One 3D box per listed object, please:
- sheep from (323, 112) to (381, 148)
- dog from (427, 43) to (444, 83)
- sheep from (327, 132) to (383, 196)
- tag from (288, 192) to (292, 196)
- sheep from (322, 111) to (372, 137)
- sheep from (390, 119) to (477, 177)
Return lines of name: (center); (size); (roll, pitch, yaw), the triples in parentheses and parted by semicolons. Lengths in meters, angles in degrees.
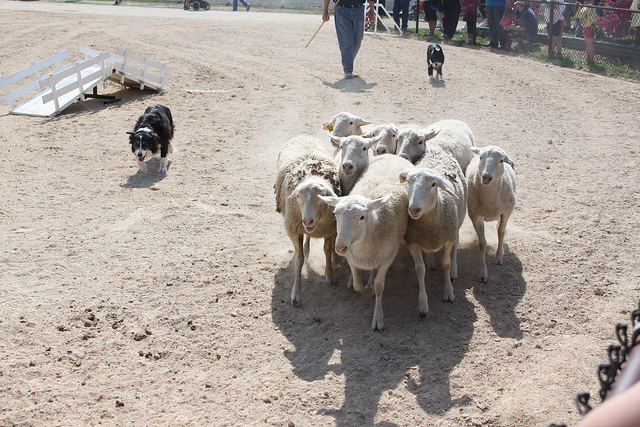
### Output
sheep: (0.651, -1.948, 16.369); (0.932, 0.680, 1.162); (-21, 13, 31)
dog: (3.697, -4.840, 23.655); (0.608, 1.096, 0.861); (6, 24, 7)
sheep: (0.624, -1.079, 14.724); (0.691, 0.877, 1.624); (0, 30, 11)
tag: (-0.579, -0.391, 14.204); (0.063, 0.015, 0.065); (-37, 13, 0)
sheep: (0.544, -1.915, 16.018); (0.735, 0.394, 0.719); (-10, 2, 21)
sheep: (2.428, -1.417, 15.309); (2.192, 1.098, 0.837); (-16, 7, -41)
